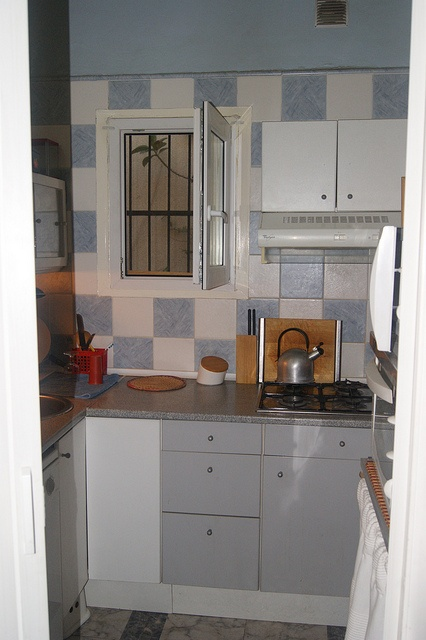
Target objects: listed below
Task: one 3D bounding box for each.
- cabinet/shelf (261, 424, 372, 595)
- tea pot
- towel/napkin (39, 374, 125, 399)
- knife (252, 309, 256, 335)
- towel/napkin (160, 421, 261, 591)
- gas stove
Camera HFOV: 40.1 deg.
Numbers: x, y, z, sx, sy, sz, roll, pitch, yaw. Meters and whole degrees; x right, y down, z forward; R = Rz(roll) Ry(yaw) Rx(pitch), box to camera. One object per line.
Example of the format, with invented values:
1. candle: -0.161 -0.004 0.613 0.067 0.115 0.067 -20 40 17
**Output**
1. cabinet/shelf: 0.356 0.661 2.484 0.531 0.946 0.509 0 5 3
2. tea pot: 0.361 0.142 2.458 0.196 0.208 0.344 0 4 9
3. towel/napkin: -0.584 0.275 2.509 0.328 0.047 0.422 -1 4 -6
4. knife: 0.184 0.008 2.640 0.016 0.108 0.037 0 4 12
5. towel/napkin: -0.009 0.682 2.157 0.380 0.626 0.020 0 4 9
6. gas stove: 0.404 0.286 2.344 0.453 0.068 0.498 0 4 11
